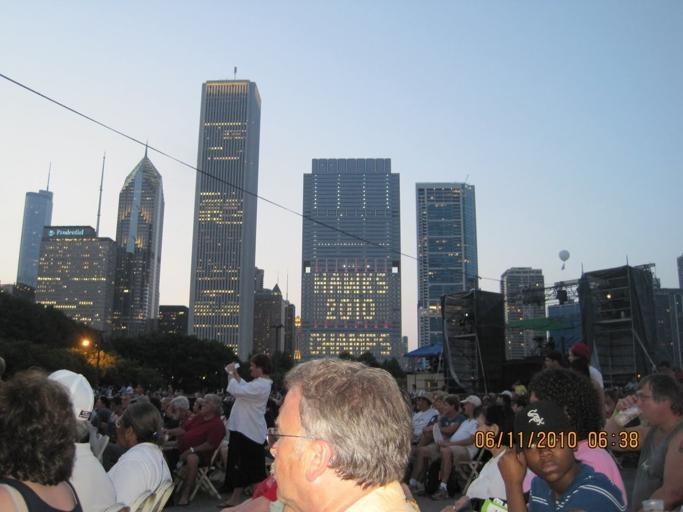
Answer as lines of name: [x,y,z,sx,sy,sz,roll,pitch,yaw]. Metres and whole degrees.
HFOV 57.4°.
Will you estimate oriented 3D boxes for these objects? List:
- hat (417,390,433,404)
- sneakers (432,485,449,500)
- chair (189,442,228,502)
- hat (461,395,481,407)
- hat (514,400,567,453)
hat: [1.619,2.641,11.804,0.221,0.078,0.235,-5,-30,46]
sneakers: [1.476,3.497,9.225,0.125,0.179,0.357,-14,-28,24]
chair: [-2.012,3.318,9.498,0.614,0.787,0.981,2,-27,-12]
hat: [2.139,2.356,10.163,0.408,0.221,0.272,2,-15,17]
hat: [1.251,1.035,3.860,0.312,0.251,0.232,-12,4,-11]
